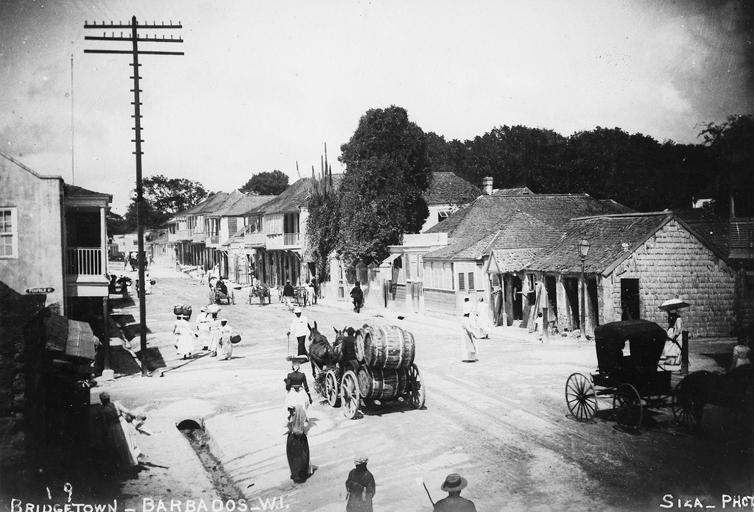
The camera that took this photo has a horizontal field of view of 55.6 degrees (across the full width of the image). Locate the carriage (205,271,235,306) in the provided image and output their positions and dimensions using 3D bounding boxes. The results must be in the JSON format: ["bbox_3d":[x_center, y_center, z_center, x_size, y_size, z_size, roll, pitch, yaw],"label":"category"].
[{"bbox_3d":[-10.893,2.370,49.376,0.794,1.355,2.585,-20,3,-35],"label":"carriage"}]

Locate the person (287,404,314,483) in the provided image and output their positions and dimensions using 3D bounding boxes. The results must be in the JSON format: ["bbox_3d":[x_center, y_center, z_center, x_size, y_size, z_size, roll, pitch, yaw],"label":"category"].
[{"bbox_3d":[-1.936,4.608,17.673,0.647,1.778,0.797,-3,8,-8],"label":"person"}]

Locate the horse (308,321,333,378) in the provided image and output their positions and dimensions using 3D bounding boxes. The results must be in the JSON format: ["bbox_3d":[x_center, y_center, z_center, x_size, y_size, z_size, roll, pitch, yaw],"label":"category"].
[{"bbox_3d":[-1.909,3.235,23.584,0.519,1.367,2.160,5,11,-25],"label":"horse"}]

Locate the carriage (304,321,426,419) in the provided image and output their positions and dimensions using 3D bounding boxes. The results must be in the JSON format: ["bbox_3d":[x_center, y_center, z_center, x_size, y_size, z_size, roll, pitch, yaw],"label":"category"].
[{"bbox_3d":[-0.798,3.401,22.851,2.466,2.728,5.330,0,0,-32],"label":"carriage"}]

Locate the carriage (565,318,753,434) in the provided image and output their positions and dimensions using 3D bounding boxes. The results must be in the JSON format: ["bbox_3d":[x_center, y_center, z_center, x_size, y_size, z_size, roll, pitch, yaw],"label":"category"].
[{"bbox_3d":[8.240,3.489,20.318,3.888,3.559,3.481,-1,0,42],"label":"carriage"}]
